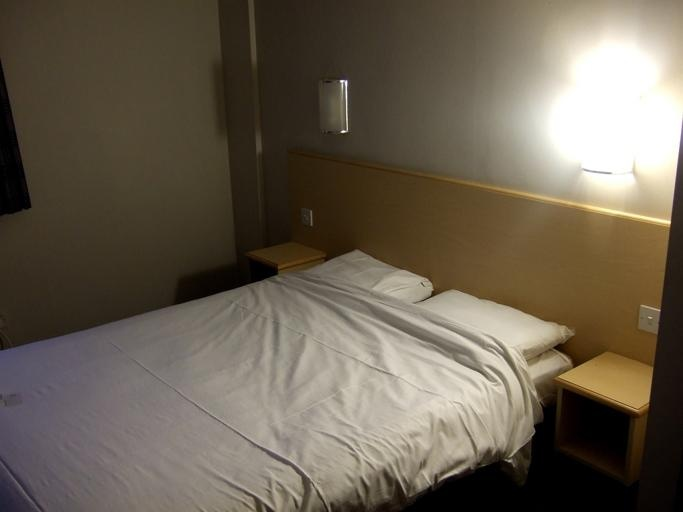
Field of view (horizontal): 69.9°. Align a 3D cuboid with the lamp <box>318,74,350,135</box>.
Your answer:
[{"bbox_3d":[-0.041,-1.030,3.318,0.272,0.442,0.142,13,24,35],"label":"lamp"}]

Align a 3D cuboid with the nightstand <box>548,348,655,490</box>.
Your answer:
[{"bbox_3d":[1.234,0.720,2.265,0.349,0.391,0.382,12,28,42],"label":"nightstand"}]
